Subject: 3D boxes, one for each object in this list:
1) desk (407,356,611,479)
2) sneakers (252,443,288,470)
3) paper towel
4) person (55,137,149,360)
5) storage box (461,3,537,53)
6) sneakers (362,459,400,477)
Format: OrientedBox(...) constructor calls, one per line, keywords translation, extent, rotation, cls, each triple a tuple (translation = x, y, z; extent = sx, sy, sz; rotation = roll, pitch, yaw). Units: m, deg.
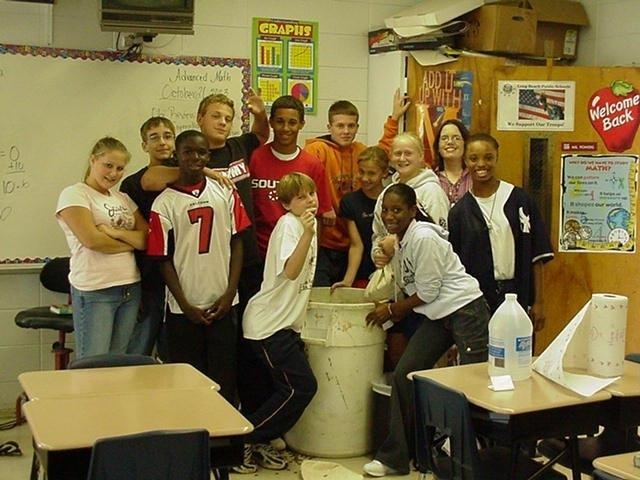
OrientedBox(translation=(0.919, 0.708, 2.662), extent=(0.591, 0.378, 0.576), rotation=(-8, 11, -31), cls="desk")
OrientedBox(translation=(-0.318, 1.354, 3.753), extent=(0.213, 0.098, 0.220), rotation=(-4, 9, -12), cls="sneakers")
OrientedBox(translation=(1.197, 0.452, 2.725), extent=(0.393, 0.380, 0.350), rotation=(-2, 8, 9), cls="paper towel")
OrientedBox(translation=(-1.310, 0.071, 3.595), extent=(0.440, 1.354, 0.419), rotation=(3, 10, 28), cls="person")
OrientedBox(translation=(1.474, -1.629, 4.824), extent=(0.453, 0.292, 0.452), rotation=(-4, 11, -27), cls="storage box")
OrientedBox(translation=(0.368, 1.358, 3.569), extent=(0.197, 0.086, 0.092), rotation=(8, -5, -12), cls="sneakers")
